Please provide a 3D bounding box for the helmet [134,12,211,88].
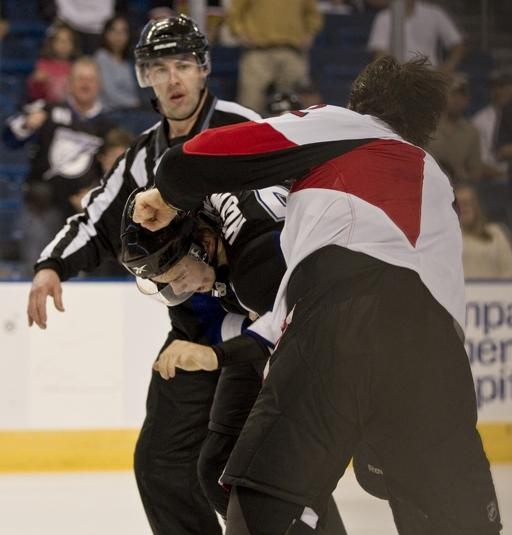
[{"bbox_3d":[-0.293,-0.770,3.204,0.258,0.211,0.270,-14,-12,14],"label":"helmet"}]
